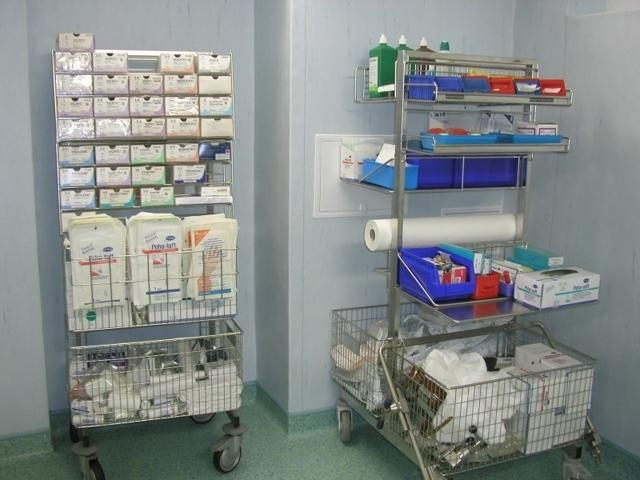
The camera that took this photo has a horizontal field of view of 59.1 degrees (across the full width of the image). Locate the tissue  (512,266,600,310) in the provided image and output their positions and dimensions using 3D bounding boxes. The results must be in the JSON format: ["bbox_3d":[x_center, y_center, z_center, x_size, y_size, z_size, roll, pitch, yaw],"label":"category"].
[{"bbox_3d":[1.178,0.244,2.780,0.414,0.177,0.153,-8,14,-9],"label":"tissue "}]

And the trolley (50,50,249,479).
[{"bbox_3d":[-0.925,0.131,3.058,1.121,2.260,0.756,-9,14,-15],"label":"trolley"}]

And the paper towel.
[{"bbox_3d":[0.650,-0.043,3.074,0.992,0.261,0.278,-3,6,-21],"label":"paper towel"}]
